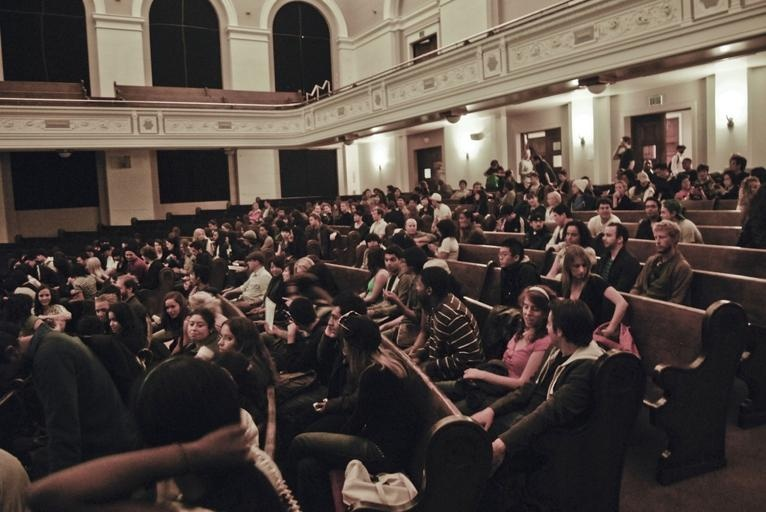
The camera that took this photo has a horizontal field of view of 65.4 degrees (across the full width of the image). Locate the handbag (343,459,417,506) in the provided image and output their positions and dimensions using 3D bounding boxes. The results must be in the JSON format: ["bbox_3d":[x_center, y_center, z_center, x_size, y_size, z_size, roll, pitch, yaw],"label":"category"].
[{"bbox_3d":[-0.034,1.574,4.175,0.507,0.201,0.386,-5,7,-8],"label":"handbag"}]

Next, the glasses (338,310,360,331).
[{"bbox_3d":[-0.283,0.507,4.617,0.153,0.072,0.161,-17,34,39],"label":"glasses"}]
